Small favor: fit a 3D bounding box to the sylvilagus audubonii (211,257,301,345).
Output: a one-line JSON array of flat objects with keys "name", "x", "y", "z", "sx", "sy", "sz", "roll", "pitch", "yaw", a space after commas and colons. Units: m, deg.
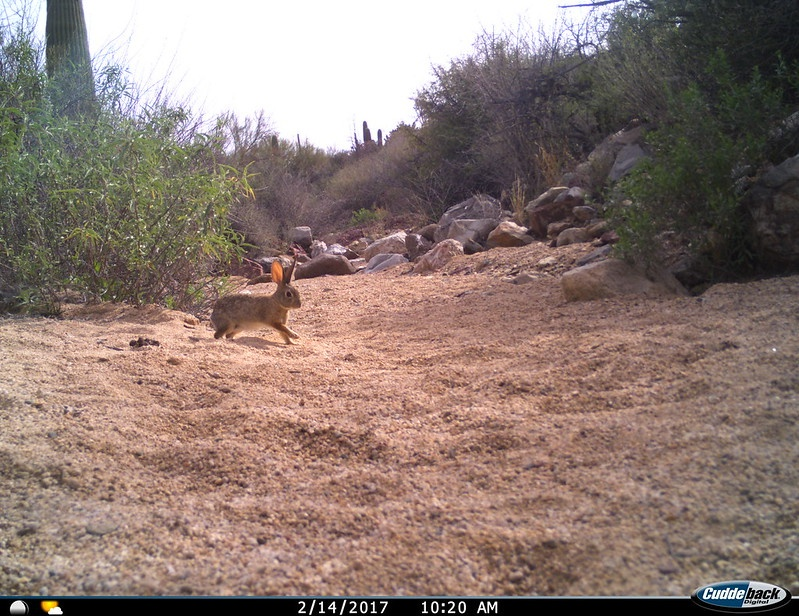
[{"name": "sylvilagus audubonii", "x": -1.203, "y": -0.046, "z": 5.374, "sx": 0.778, "sy": 0.762, "sz": 0.273, "roll": 1, "pitch": 4, "yaw": 8}]
